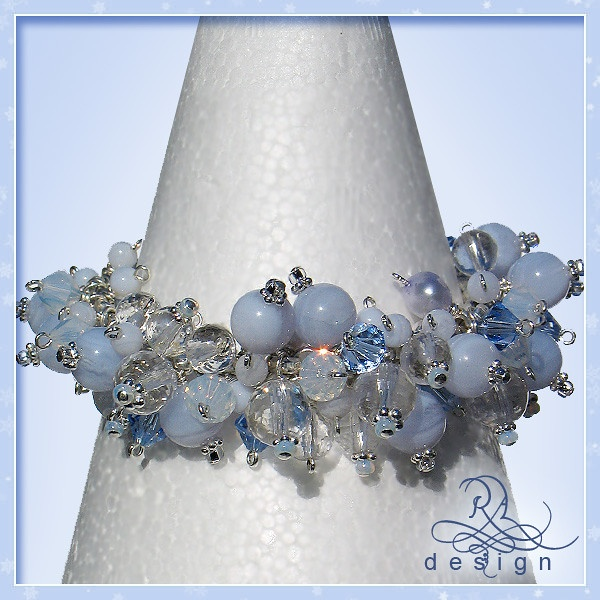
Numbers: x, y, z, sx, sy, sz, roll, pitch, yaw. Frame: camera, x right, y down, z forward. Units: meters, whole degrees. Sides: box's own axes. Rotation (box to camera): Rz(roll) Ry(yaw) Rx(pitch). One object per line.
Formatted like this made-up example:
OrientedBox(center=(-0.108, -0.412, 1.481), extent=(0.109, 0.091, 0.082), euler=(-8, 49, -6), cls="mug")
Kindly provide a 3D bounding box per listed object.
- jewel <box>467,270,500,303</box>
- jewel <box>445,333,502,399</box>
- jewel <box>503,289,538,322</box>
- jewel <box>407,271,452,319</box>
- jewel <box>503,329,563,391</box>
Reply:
OrientedBox(center=(0.332, -0.021, 1.459), extent=(0.054, 0.056, 0.029), euler=(7, -8, 10), cls="jewel")
OrientedBox(center=(0.269, 0.103, 1.267), extent=(0.104, 0.105, 0.094), euler=(0, -1, 3), cls="jewel")
OrientedBox(center=(0.395, 0.009, 1.439), extent=(0.061, 0.044, 0.047), euler=(24, 0, 22), cls="jewel")
OrientedBox(center=(0.209, -0.010, 1.344), extent=(0.065, 0.057, 0.081), euler=(0, 6, -7), cls="jewel")
OrientedBox(center=(0.428, 0.101, 1.469), extent=(0.102, 0.104, 0.099), euler=(-1, -6, -39), cls="jewel")
